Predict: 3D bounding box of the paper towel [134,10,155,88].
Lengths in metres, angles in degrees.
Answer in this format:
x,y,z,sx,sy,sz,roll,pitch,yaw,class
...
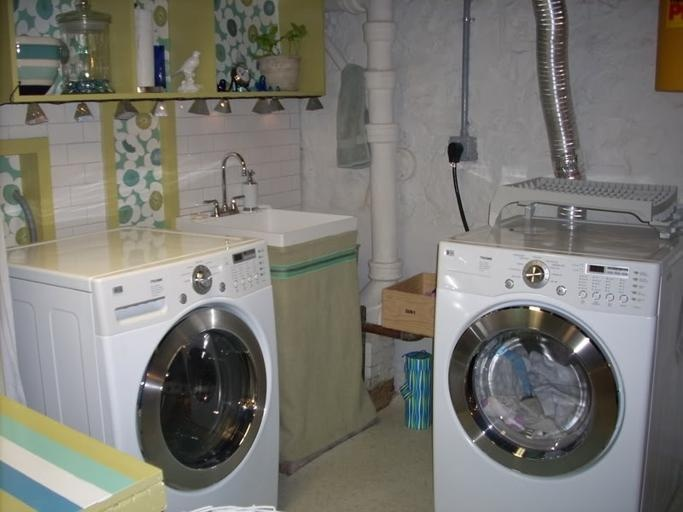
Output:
x,y,z,sx,sy,sz,roll,pitch,yaw,class
-0.987,-1.032,2.710,0.085,0.402,0.109,-3,10,-17,paper towel

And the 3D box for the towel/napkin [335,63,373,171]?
x,y,z,sx,sy,sz,roll,pitch,yaw,class
0.078,-0.969,3.757,0.257,0.713,0.020,5,11,27,towel/napkin

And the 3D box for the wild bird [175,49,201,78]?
x,y,z,sx,sy,sz,roll,pitch,yaw,class
-0.843,-1.056,2.957,0.186,0.132,0.098,6,12,33,wild bird
